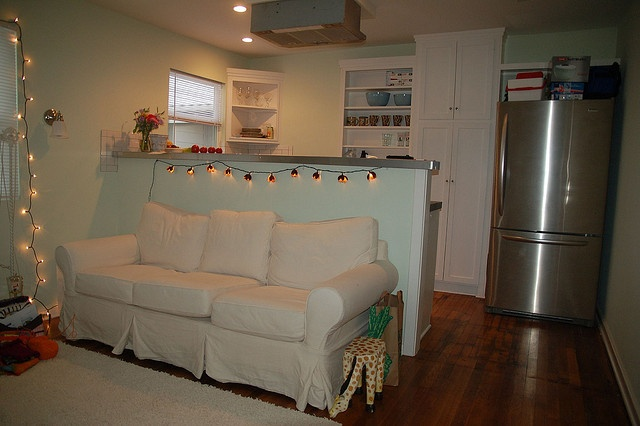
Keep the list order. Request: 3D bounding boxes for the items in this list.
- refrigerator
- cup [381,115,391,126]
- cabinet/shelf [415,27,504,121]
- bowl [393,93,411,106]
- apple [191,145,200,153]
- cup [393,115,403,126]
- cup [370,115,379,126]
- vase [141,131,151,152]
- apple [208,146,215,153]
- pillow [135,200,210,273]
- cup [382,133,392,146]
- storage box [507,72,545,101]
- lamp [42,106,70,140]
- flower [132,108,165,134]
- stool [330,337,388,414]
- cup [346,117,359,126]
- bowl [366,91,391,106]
[{"bbox_3d":[2.577,-0.017,5.010,1.195,2.477,0.470,6,15,16],"label":"refrigerator"},{"bbox_3d":[0.959,-1.338,6.414,0.138,0.142,0.148,1,18,0],"label":"cup"},{"bbox_3d":[1.877,-1.832,5.769,1.192,1.181,0.496,4,7,23],"label":"cabinet/shelf"},{"bbox_3d":[1.165,-1.573,6.218,0.184,0.113,0.181,-2,13,1],"label":"bowl"},{"bbox_3d":[-1.415,-0.723,5.021,0.091,0.069,0.213,-2,14,-17],"label":"apple"},{"bbox_3d":[1.126,-1.320,6.344,0.138,0.153,0.180,4,14,9],"label":"cup"},{"bbox_3d":[0.792,-1.340,6.408,0.147,0.121,0.121,1,5,29],"label":"cup"},{"bbox_3d":[-2.079,-0.842,5.263,0.116,0.212,0.308,-4,15,-21],"label":"vase"},{"bbox_3d":[-1.232,-0.705,5.016,0.091,0.092,0.032,8,-13,1],"label":"apple"},{"bbox_3d":[-1.516,0.270,4.545,0.674,0.659,0.189,1,-13,21],"label":"pillow"},{"bbox_3d":[0.980,-1.053,6.390,0.134,0.174,0.172,6,14,15],"label":"cup"},{"bbox_3d":[2.382,-1.435,5.138,0.385,0.384,0.378,6,13,22],"label":"storage box"},{"bbox_3d":[-2.884,-0.965,4.803,0.220,0.319,0.368,-6,16,-29],"label":"lamp"},{"bbox_3d":[-2.147,-1.143,5.528,0.367,0.303,0.721,-3,15,-21],"label":"flower"},{"bbox_3d":[0.332,1.254,3.451,0.286,0.469,0.655,2,0,35],"label":"stool"},{"bbox_3d":[0.471,-1.329,6.463,0.143,0.107,0.110,2,4,7],"label":"cup"},{"bbox_3d":[0.831,-1.618,6.277,0.241,0.118,0.245,0,2,0],"label":"bowl"}]
